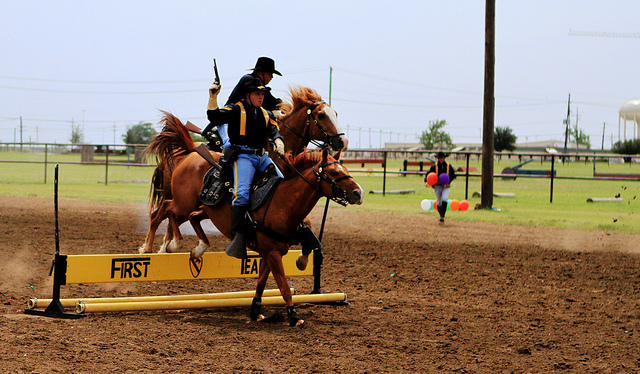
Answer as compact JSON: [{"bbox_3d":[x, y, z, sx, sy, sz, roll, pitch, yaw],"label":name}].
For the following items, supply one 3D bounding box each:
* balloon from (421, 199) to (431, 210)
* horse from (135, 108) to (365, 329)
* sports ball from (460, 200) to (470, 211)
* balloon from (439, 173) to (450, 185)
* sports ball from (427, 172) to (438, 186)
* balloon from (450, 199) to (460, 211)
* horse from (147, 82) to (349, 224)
[{"bbox_3d":[3.961,0.673,36.344,0.302,0.333,0.191,-20,-4,13],"label":"balloon"},{"bbox_3d":[-2.446,0.607,27.204,8.838,5.367,1.915,20,16,41],"label":"horse"},{"bbox_3d":[5.198,0.683,34.841,0.345,0.302,0.302,10,-9,10],"label":"sports ball"},{"bbox_3d":[4.335,-0.271,33.987,0.334,0.391,0.392,1,2,19],"label":"balloon"},{"bbox_3d":[3.969,-0.270,34.432,0.371,0.436,0.370,2,-12,0],"label":"sports ball"},{"bbox_3d":[4.779,0.669,34.891,0.324,0.370,0.327,-6,2,38],"label":"balloon"},{"bbox_3d":[-2.440,-0.318,29.434,7.762,5.053,1.710,-6,-2,36],"label":"horse"}]
